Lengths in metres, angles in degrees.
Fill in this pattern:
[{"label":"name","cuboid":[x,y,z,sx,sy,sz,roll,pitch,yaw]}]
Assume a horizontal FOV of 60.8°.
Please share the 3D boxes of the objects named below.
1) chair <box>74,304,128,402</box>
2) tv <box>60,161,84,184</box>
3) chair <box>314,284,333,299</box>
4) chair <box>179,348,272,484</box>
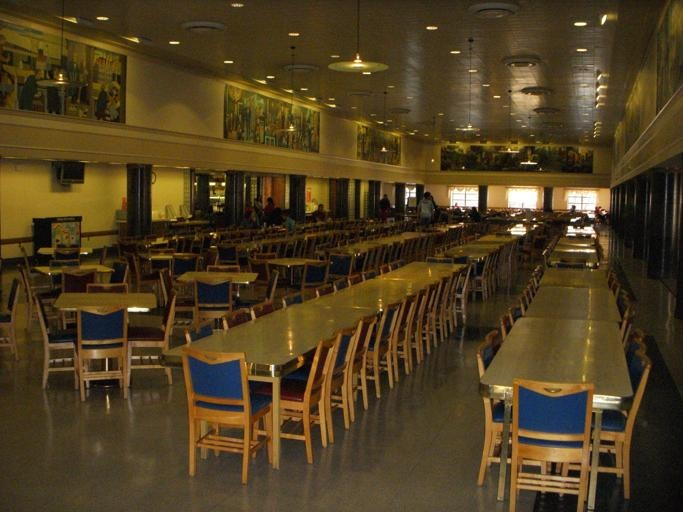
[{"label":"chair","cuboid":[-2.766,1.010,6.596,0.549,1.008,1.024,-4,9,-26]},{"label":"tv","cuboid":[-8.285,-2.550,17.690,0.754,0.605,0.370,-7,11,-41]},{"label":"chair","cuboid":[-0.230,0.452,7.606,0.151,0.272,0.173,-1,-4,-9]},{"label":"chair","cuboid":[-0.974,1.238,4.891,0.717,1.072,0.890,-2,9,-17]}]
